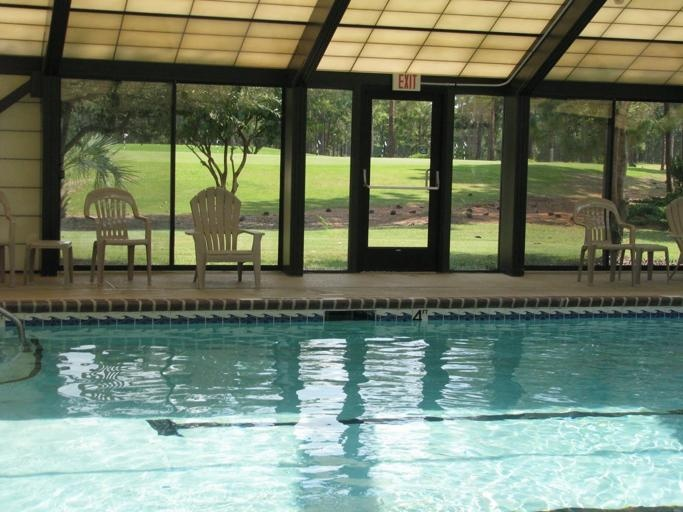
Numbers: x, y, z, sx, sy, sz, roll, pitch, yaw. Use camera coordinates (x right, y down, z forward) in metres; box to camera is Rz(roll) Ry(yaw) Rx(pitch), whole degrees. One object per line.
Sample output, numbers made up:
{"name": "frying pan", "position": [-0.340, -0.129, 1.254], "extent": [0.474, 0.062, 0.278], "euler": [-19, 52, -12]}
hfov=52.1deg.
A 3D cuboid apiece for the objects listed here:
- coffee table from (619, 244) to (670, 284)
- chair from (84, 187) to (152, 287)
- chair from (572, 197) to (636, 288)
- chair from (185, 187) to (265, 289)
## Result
{"name": "coffee table", "position": [4.488, 0.052, 10.389], "extent": [0.658, 0.623, 1.810], "euler": [6, 12, 21]}
{"name": "chair", "position": [-2.952, -0.272, 9.138], "extent": [0.783, 1.184, 1.638], "euler": [-2, 12, -18]}
{"name": "chair", "position": [3.894, -0.226, 10.322], "extent": [0.955, 1.190, 2.116], "euler": [5, 12, 18]}
{"name": "chair", "position": [-1.550, -0.232, 9.006], "extent": [0.916, 1.225, 0.964], "euler": [-1, 12, -15]}
